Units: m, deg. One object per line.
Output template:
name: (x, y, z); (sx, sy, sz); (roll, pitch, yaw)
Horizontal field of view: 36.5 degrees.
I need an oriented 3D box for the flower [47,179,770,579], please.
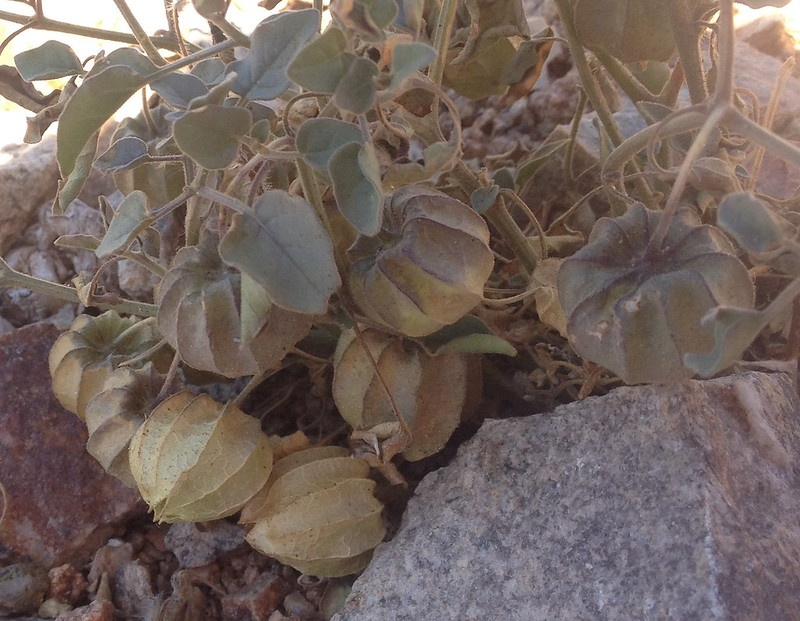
flower: (0.010, 0.118, 1.916); (0.935, 0.364, 0.623); (-24, 58, -14)
